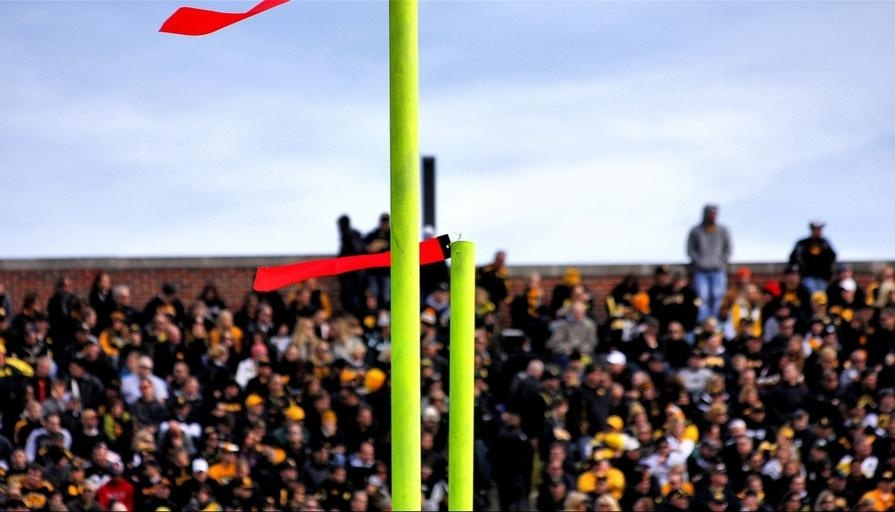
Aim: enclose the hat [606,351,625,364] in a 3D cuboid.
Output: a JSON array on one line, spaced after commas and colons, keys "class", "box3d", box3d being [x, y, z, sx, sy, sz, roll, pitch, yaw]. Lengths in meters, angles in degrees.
[{"class": "hat", "box3d": [2.518, 1.482, 30.294, 0.219, 0.097, 0.199, 3, 5, 11]}]
